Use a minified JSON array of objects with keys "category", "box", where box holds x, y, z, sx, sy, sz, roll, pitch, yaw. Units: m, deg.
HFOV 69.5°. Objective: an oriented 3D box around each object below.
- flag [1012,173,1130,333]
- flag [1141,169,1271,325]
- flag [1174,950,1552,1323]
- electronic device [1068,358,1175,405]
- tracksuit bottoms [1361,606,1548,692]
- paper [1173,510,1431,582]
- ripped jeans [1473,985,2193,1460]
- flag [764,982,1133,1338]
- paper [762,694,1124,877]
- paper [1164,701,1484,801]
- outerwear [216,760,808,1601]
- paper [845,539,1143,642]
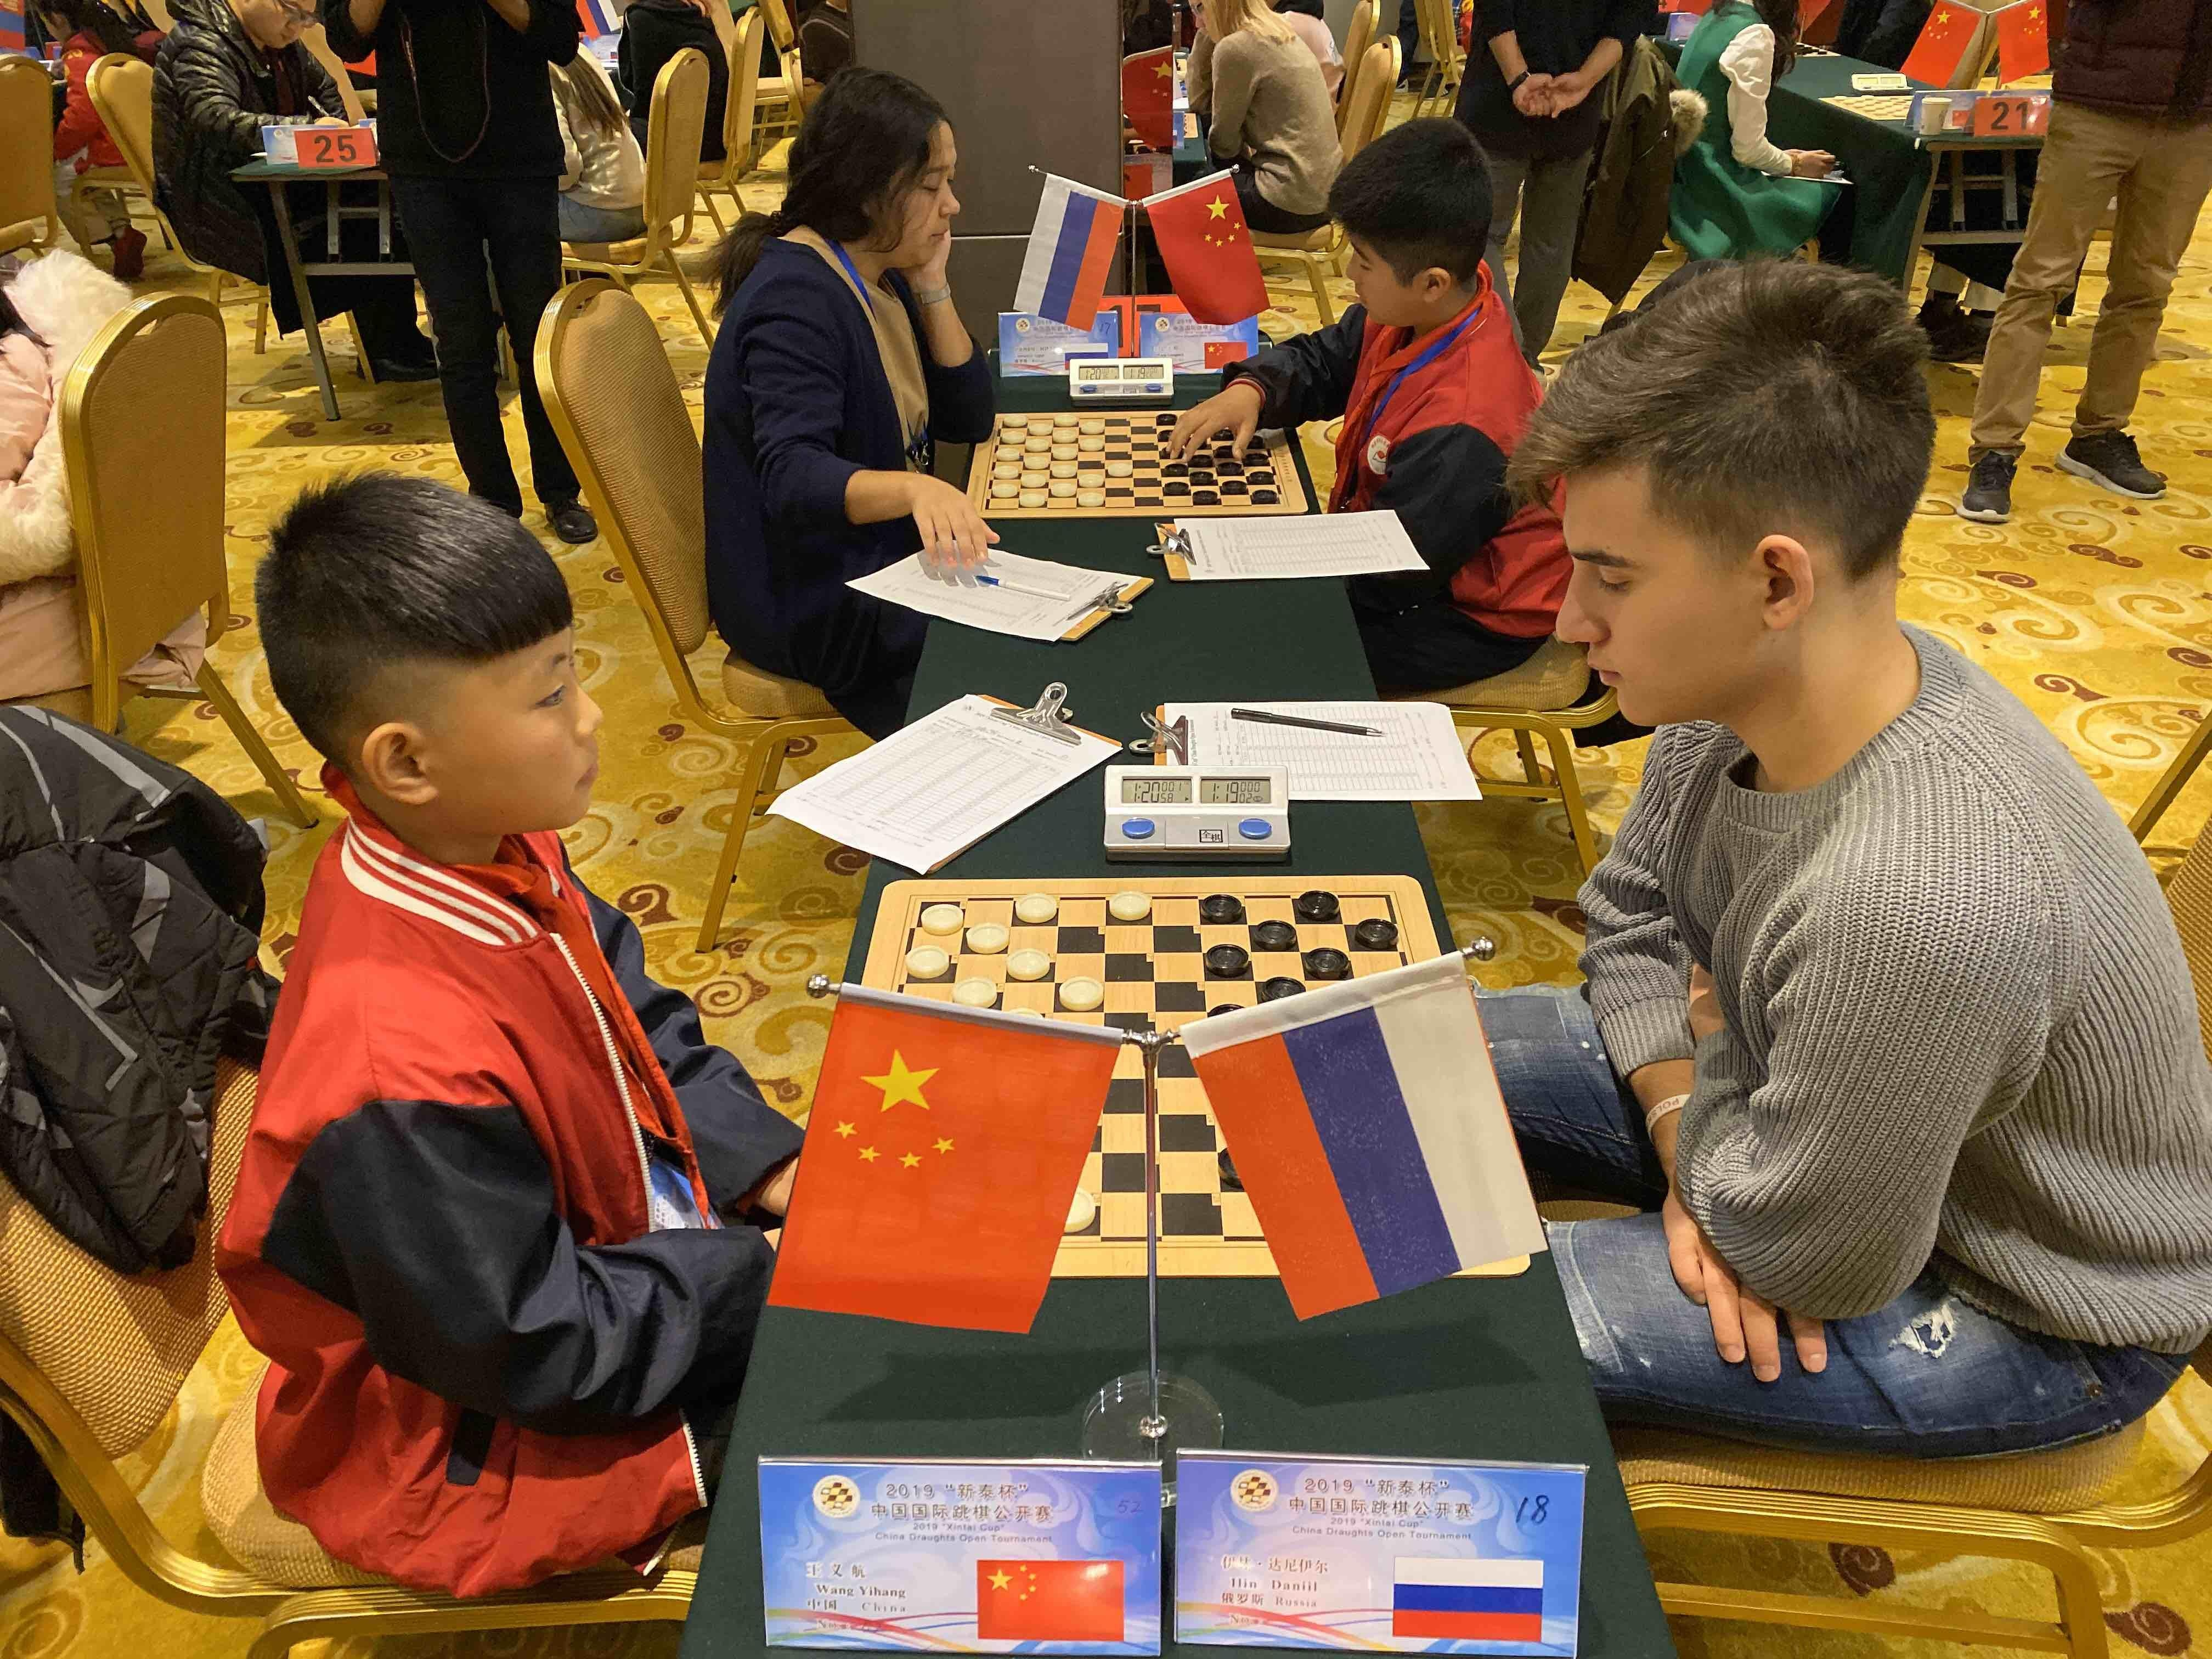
[{"category":"flag","box":[-0.083,-1.201,3.330,0.218,0.272,0.012,10,17,-23]},{"category":"flag","box":[0.215,-1.237,3.415,0.260,0.317,0.182,2,26,1]},{"category":"flag","box":[0.220,0.289,1.448,0.307,0.365,0.028,-21,32,5]},{"category":"electronic device","box":[0.035,-0.949,3.395,0.215,0.080,0.097,1,25,-2]},{"category":"tracksuit bottoms","box":[0.621,-0.340,2.908,0.233,0.083,0.226,-11,45,1]},{"category":"paper","box":[0.335,-0.472,2.684,0.285,0.030,0.205,-4,31,-1]},{"category":"ripped jeans","box":[0.780,0.449,1.556,0.539,0.128,0.534,3,45,-9]},{"category":"flag","box":[-0.133,0.290,1.369,0.266,0.307,0.019,10,19,-15]},{"category":"paper","box":[-0.217,-0.116,2.084,0.253,0.036,0.330,19,35,25]},{"category":"paper","box":[0.284,-0.111,2.180,0.420,0.053,0.253,3,25,2]},{"category":"outerwear","box":[-0.625,0.357,1.574,0.523,0.689,0.397,8,27,14]},{"category":"paper","box":[-0.167,-0.392,2.590,0.415,0.060,0.287,16,29,28]}]
